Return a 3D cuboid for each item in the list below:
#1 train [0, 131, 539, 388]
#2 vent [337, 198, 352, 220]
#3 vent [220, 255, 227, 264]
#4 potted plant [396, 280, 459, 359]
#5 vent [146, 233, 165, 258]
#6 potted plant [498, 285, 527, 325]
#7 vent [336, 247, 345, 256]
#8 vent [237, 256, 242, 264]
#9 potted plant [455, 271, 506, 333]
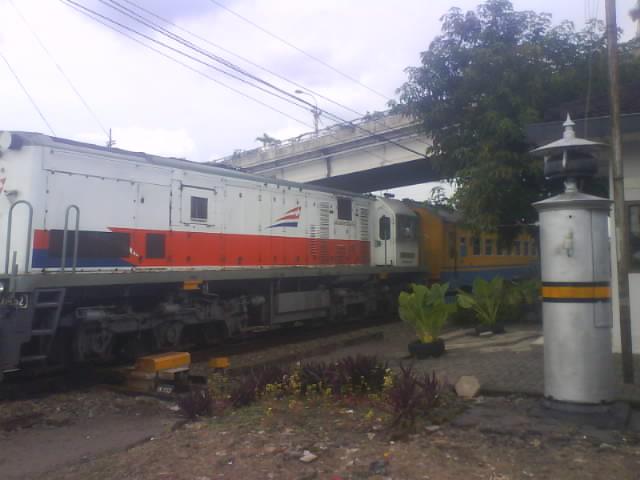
[{"bbox_3d":[-1.371,0.226,14.299,1.235,5.578,13.194,2,8,41],"label":"train"},{"bbox_3d":[0.694,-0.929,16.567,0.083,0.510,0.660,-2,-3,28],"label":"vent"},{"bbox_3d":[-2.238,0.449,12.883,0.037,0.159,0.158,1,-1,39],"label":"vent"},{"bbox_3d":[2.110,1.600,11.096,1.098,1.445,0.510,-4,6,-15],"label":"potted plant"},{"bbox_3d":[-3.443,0.123,11.578,0.054,0.555,0.465,-4,-5,38],"label":"vent"},{"bbox_3d":[5.455,1.908,15.946,0.776,0.860,0.978,-4,-6,4],"label":"potted plant"},{"bbox_3d":[0.581,0.324,16.320,0.330,0.249,0.179,0,-2,-44],"label":"vent"},{"bbox_3d":[-1.918,0.477,13.269,0.031,0.136,0.134,7,4,37],"label":"vent"},{"bbox_3d":[4.067,1.589,14.056,1.333,1.599,1.505,-4,-6,-6],"label":"potted plant"}]
